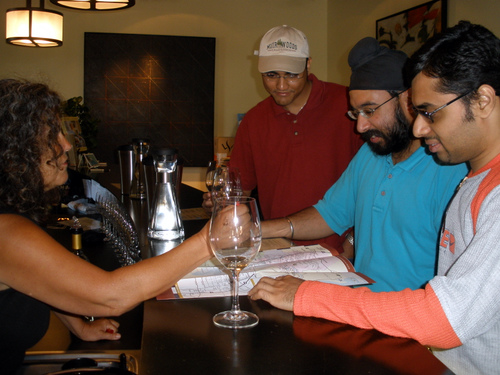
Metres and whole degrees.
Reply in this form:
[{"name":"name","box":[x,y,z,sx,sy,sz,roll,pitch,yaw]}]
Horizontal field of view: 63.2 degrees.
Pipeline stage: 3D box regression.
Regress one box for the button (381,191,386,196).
[{"name":"button","box":[0.566,0.023,1.724,0.019,0.021,0.005,-8,-7,29]}]

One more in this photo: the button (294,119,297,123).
[{"name":"button","box":[0.261,-0.381,2.329,0.005,0.022,0.022,3,27,-13]}]

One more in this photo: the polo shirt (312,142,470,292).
[{"name":"polo shirt","box":[0.570,0.120,1.604,0.266,0.522,0.507,2,16,-21]}]

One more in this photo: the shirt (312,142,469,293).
[{"name":"shirt","box":[0.645,0.130,1.814,0.725,0.688,0.273,19,36,37]}]

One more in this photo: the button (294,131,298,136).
[{"name":"button","box":[0.265,-0.311,2.322,0.021,0.024,0.005,-2,-7,10]}]

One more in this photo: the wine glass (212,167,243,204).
[{"name":"wine glass","box":[-0.103,-0.010,1.883,0.132,0.258,0.140,2,-3,-5]}]
